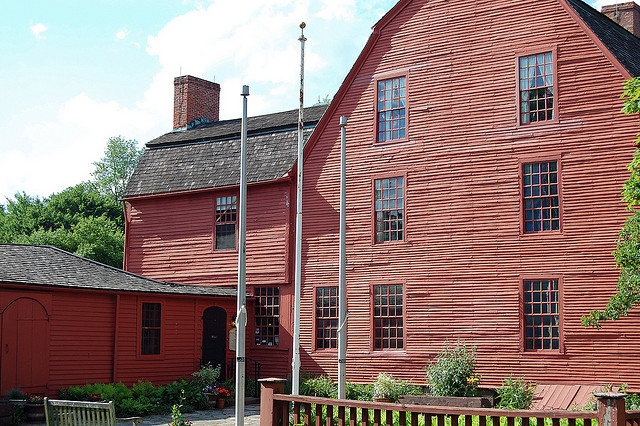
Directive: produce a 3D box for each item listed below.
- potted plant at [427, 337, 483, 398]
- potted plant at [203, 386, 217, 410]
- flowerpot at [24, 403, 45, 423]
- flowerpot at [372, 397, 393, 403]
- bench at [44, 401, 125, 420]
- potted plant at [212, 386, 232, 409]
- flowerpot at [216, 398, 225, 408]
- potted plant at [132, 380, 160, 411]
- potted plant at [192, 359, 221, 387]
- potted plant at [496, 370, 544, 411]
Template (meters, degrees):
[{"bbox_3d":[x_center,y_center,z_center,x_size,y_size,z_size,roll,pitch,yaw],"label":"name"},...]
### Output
[{"bbox_3d":[4.553,5.377,28.818,1.976,2.344,1.635,4,-17,-8],"label":"potted plant"},{"bbox_3d":[-3.886,6.617,29.967,0.601,0.555,0.593,0,-15,-3],"label":"potted plant"},{"bbox_3d":[-8.754,6.120,25.938,0.763,0.538,0.752,-3,-7,8],"label":"flowerpot"},{"bbox_3d":[2.116,6.223,27.982,0.678,0.219,0.538,-1,-7,8],"label":"flowerpot"},{"bbox_3d":[-6.157,5.101,21.679,2.288,0.545,1.148,-15,-22,37],"label":"bench"},{"bbox_3d":[-3.612,6.681,30.420,0.739,0.712,0.628,3,-17,-11],"label":"potted plant"},{"bbox_3d":[-3.590,6.800,30.151,0.286,0.209,0.283,-2,-15,11],"label":"flowerpot"},{"bbox_3d":[-5.936,6.186,28.548,0.923,1.084,1.292,2,-18,-11],"label":"potted plant"},{"bbox_3d":[-4.222,5.953,31.152,0.990,1.099,1.726,1,-18,-8],"label":"potted plant"},{"bbox_3d":[6.476,5.717,27.107,0.966,1.160,1.276,16,-23,-37],"label":"potted plant"}]
